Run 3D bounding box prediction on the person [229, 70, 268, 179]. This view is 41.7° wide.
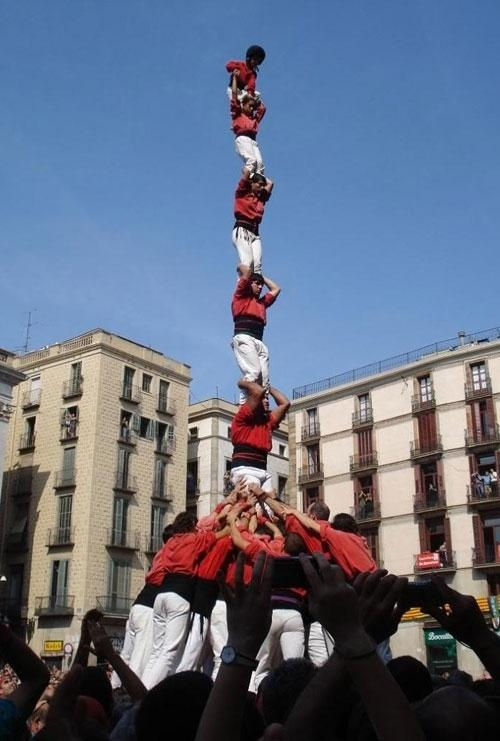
[{"bbox_3d":[-0.053,-3.713,10.158,0.554,1.817,0.414,1,-17,-3],"label":"person"}]

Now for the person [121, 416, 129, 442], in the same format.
[{"bbox_3d":[-7.826,3.611,40.930,0.416,1.580,0.581,-3,-17,12],"label":"person"}]
